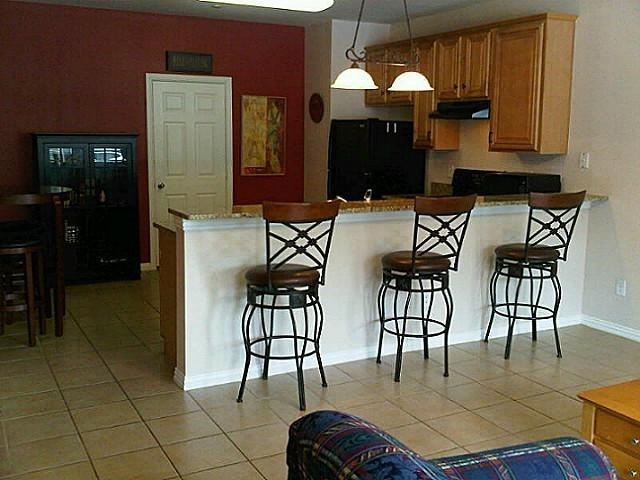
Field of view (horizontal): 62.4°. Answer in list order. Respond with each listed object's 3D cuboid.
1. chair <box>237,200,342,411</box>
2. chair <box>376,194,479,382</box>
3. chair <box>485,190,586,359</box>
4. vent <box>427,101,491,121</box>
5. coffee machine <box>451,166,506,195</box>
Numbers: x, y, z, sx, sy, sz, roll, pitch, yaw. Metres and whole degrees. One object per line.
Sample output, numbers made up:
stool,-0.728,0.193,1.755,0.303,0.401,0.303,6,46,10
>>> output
chair,-0.211,0.362,3.596,0.674,1.332,0.803,1,13,2
chair,0.830,0.292,4.003,0.798,1.326,0.758,-2,13,-10
chair,1.780,0.223,4.426,0.641,1.317,1.082,7,14,26
vent,1.440,-1.357,5.446,0.269,0.192,0.751,-4,13,-19
coffee machine,1.649,-0.617,5.451,0.281,0.300,0.449,-7,13,-25
